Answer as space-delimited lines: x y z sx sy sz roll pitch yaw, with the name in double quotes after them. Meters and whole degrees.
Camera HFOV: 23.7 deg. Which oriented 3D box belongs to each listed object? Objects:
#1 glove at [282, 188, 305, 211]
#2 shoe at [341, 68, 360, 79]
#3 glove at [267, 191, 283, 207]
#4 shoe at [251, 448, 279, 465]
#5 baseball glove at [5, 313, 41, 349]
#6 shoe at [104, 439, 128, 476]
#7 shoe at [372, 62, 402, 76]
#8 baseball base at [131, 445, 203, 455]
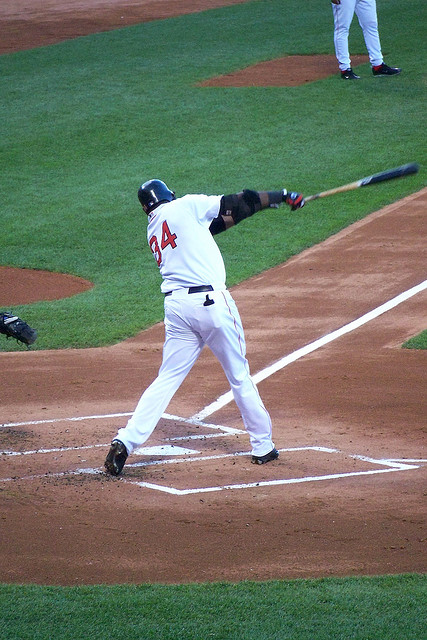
0.544 -0.815 6.953 0.160 0.061 0.097 33 32 -2 "glove"
2.375 -4.264 17.680 0.369 0.221 0.122 -2 21 -5 "shoe"
0.422 -0.828 6.891 0.118 0.044 0.076 1 43 -3 "glove"
0.373 0.939 7.077 0.204 0.090 0.074 -18 37 -30 "shoe"
-1.660 0.115 8.861 0.373 0.131 0.236 30 50 -4 "baseball glove"
-0.648 0.911 6.810 0.106 0.264 0.129 25 18 34 "shoe"
3.050 -4.276 17.470 0.597 0.265 0.181 1 46 0 "shoe"
-0.316 0.945 7.354 0.482 0.020 0.187 -3 10 20 "baseball base"
